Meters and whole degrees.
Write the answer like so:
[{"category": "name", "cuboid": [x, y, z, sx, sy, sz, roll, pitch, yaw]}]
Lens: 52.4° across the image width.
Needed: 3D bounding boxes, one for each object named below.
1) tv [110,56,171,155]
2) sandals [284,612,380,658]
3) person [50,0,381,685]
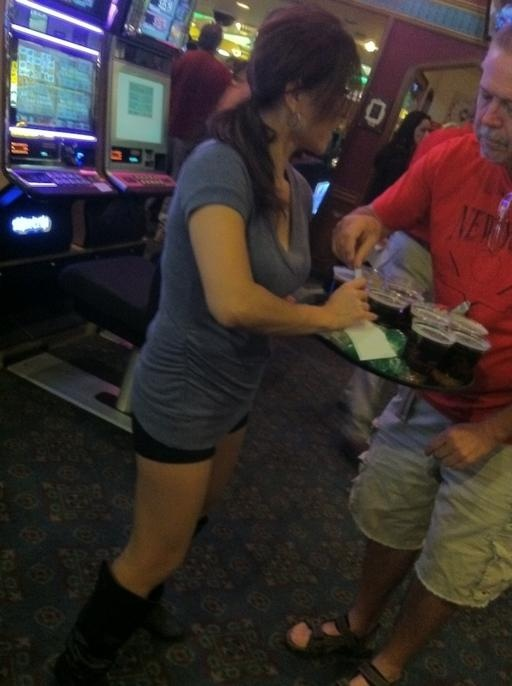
[{"category": "tv", "cuboid": [-0.609, -1.253, 2.696, 0.041, 0.390, 0.583, 15, 17, 17]}, {"category": "sandals", "cuboid": [0.209, 0.881, 1.590, 0.312, 0.124, 0.120, 3, 49, -4]}, {"category": "person", "cuboid": [-0.089, 0.099, 1.129, 0.312, 1.498, 0.546, 33, 28, 35]}]
